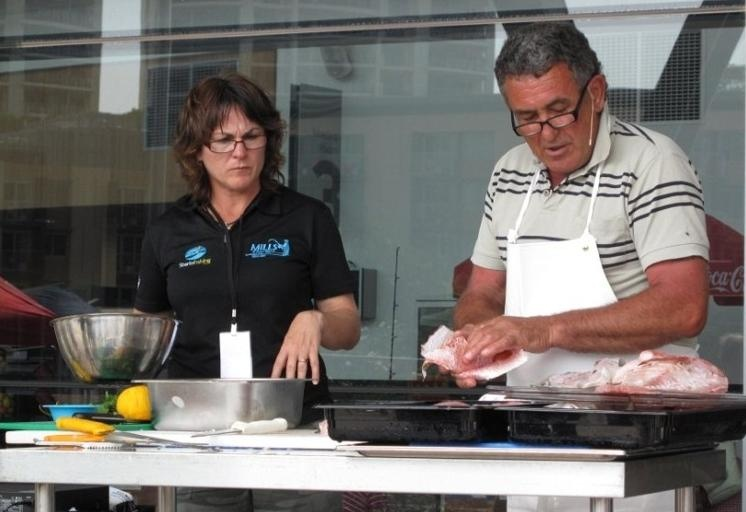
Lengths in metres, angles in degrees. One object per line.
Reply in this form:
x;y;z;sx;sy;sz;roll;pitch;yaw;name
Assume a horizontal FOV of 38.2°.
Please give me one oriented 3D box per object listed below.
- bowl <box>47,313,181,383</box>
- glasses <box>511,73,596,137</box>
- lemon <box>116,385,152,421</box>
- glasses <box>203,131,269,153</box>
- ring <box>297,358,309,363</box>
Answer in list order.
-0.852;0.337;3.659;0.435;0.203;0.421;-3;-14;-1;bowl
0.636;-0.535;3.857;0.300;0.224;0.138;0;2;11;glasses
-0.763;0.478;3.497;0.130;0.099;0.072;-1;-11;37;lemon
-0.496;-0.412;3.921;0.206;0.082;0.041;0;2;-6;glasses
-0.226;0.346;3.603;0.039;0.015;0.016;-1;2;-35;ring
